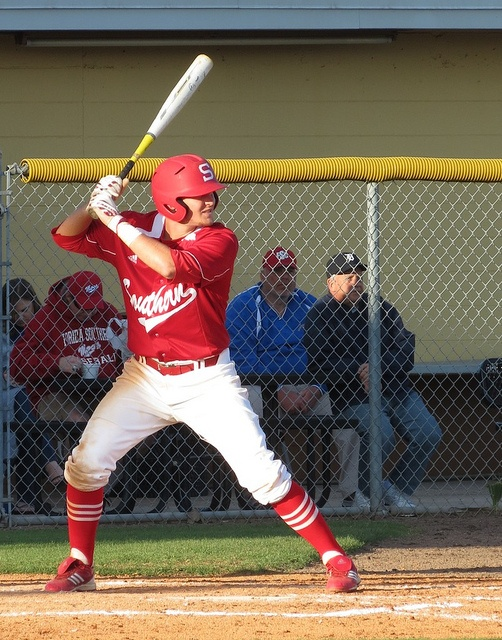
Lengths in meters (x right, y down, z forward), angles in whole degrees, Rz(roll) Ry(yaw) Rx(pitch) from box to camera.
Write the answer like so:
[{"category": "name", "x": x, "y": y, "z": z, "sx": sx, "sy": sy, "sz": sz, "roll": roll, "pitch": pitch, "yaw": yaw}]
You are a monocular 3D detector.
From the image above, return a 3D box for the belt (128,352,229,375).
[{"category": "belt", "x": -0.278, "y": 0.171, "z": 4.071, "sx": 0.373, "sy": 0.095, "sz": 0.146, "roll": 2, "pitch": 1, "yaw": 4}]

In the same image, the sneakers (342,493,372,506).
[{"category": "sneakers", "x": 0.572, "y": 0.949, "z": 5.694, "sx": 0.100, "sy": 0.034, "sz": 0.123, "roll": 0, "pitch": -5, "yaw": -6}]

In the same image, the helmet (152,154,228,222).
[{"category": "helmet", "x": -0.241, "y": -0.485, "z": 4.088, "sx": 0.302, "sy": 0.211, "sz": 0.212, "roll": 3, "pitch": 9, "yaw": 23}]

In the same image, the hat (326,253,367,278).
[{"category": "hat", "x": 0.534, "y": -0.283, "z": 5.999, "sx": 0.133, "sy": 0.088, "sz": 0.176, "roll": 5, "pitch": -21, "yaw": -44}]

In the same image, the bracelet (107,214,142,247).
[{"category": "bracelet", "x": -0.457, "y": -0.307, "z": 3.867, "sx": 0.099, "sy": 0.116, "sz": 0.037, "roll": -34, "pitch": -37, "yaw": 13}]

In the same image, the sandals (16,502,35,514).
[{"category": "sandals", "x": -1.226, "y": 1.013, "z": 5.767, "sx": 0.095, "sy": 0.033, "sz": 0.117, "roll": 2, "pitch": -3, "yaw": -17}]

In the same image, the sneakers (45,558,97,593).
[{"category": "sneakers", "x": -0.667, "y": 0.970, "z": 4.105, "sx": 0.226, "sy": 0.111, "sz": 0.088, "roll": 5, "pitch": -12, "yaw": -25}]

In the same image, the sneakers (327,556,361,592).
[{"category": "sneakers", "x": 0.345, "y": 0.943, "z": 4.013, "sx": 0.126, "sy": 0.087, "sz": 0.092, "roll": 3, "pitch": 1, "yaw": 3}]

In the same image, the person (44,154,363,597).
[{"category": "person", "x": -0.246, "y": 0.217, "z": 4.011, "sx": 1.157, "sy": 1.634, "sz": 0.496, "roll": 3, "pitch": 2, "yaw": 4}]

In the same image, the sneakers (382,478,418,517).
[{"category": "sneakers", "x": 0.784, "y": 0.958, "z": 5.730, "sx": 0.137, "sy": 0.081, "sz": 0.225, "roll": 2, "pitch": 1, "yaw": -27}]

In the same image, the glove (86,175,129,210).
[{"category": "glove", "x": -0.546, "y": -0.451, "z": 4.055, "sx": 0.165, "sy": 0.103, "sz": 0.072, "roll": -35, "pitch": -20, "yaw": -35}]
